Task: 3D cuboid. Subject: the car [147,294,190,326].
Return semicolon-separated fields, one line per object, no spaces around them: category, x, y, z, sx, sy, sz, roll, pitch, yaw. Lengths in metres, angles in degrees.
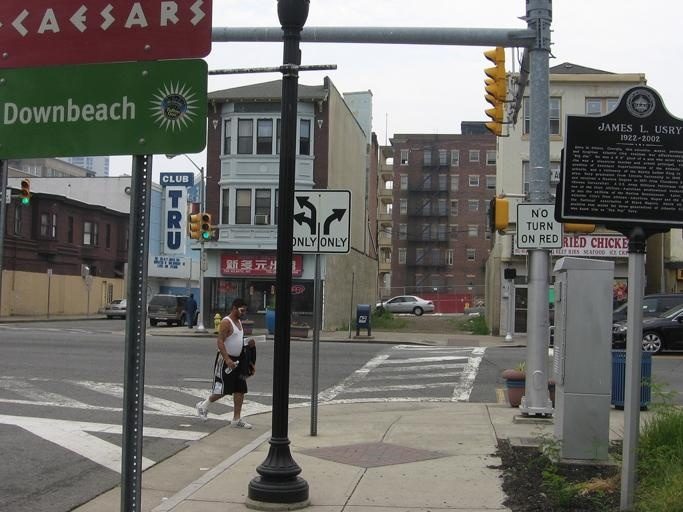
car;-7.541;2.417;44.713;1.257;1.252;2.635;1;3;6

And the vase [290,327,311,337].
vase;-1.396;2.501;33.448;0.550;0.379;0.528;1;-3;-8

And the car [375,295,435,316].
car;4.182;3.127;64.216;3.402;1.275;1.572;3;-3;3

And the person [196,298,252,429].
person;-1.775;1.679;15.927;0.799;2.002;0.683;1;-3;-7

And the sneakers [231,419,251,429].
sneakers;-1.579;2.627;15.831;0.341;0.171;0.131;2;1;4

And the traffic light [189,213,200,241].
traffic light;-5.083;-1.050;34.766;0.357;0.943;1.242;1;-3;-12

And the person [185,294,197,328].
person;-5.875;2.136;39.456;0.364;1.292;2.134;1;-3;-8

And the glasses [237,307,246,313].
glasses;-1.591;0.854;16.004;0.085;0.086;0.106;1;-9;-14

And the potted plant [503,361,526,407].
potted plant;2.996;2.298;17.463;0.358;0.656;0.559;0;-3;12

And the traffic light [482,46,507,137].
traffic light;2.680;-2.989;17.574;0.366;1.344;0.328;-2;13;-3

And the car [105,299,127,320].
car;-11.516;2.653;51.239;0.900;0.984;2.767;1;-3;-14

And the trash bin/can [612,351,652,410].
trash bin/can;4.876;2.106;16.999;0.676;1.003;0.688;5;-1;-27

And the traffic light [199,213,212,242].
traffic light;-4.735;-1.011;34.819;0.392;0.944;1.415;1;-3;-9
